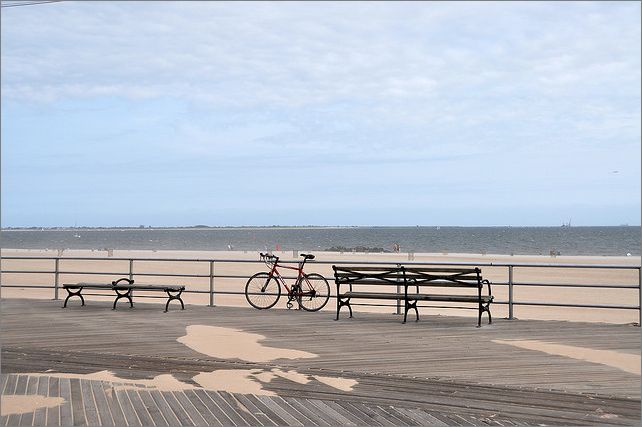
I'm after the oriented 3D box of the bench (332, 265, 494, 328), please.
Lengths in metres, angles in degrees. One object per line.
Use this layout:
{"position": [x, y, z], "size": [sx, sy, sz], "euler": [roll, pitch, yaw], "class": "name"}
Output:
{"position": [1.962, 1.786, 16.268], "size": [3.361, 0.919, 0.914], "euler": [-1, -18, 26], "class": "bench"}
